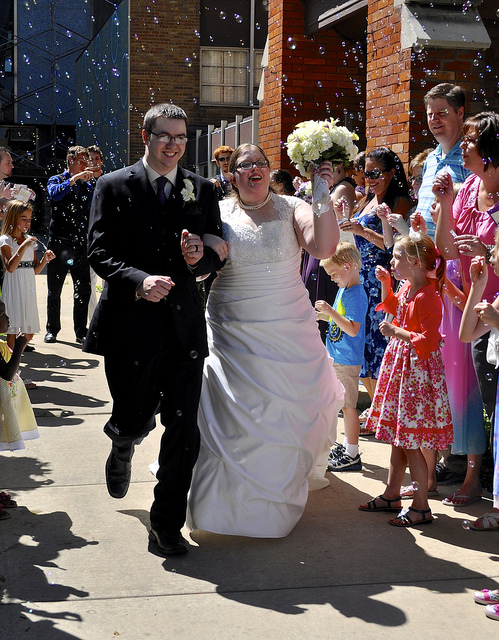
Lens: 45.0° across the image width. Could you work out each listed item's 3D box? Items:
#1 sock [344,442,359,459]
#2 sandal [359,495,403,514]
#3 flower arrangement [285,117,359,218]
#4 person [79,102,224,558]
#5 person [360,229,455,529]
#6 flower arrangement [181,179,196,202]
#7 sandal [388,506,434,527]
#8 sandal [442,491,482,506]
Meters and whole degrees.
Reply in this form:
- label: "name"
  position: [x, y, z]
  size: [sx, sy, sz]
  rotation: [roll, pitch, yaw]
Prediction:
- label: "sock"
  position: [0.654, 0.833, 3.853]
  size: [0.101, 0.100, 0.063]
  rotation: [13, 12, 40]
- label: "sandal"
  position: [0.684, 0.968, 3.186]
  size: [0.244, 0.092, 0.082]
  rotation: [3, -8, 5]
- label: "flower arrangement"
  position: [0.311, -0.727, 2.906]
  size: [0.297, 0.393, 0.355]
  rotation: [-3, 9, 8]
- label: "person"
  position: [-0.428, 0.040, 2.587]
  size: [0.598, 1.906, 0.561]
  rotation: [0, 5, -5]
- label: "person"
  position: [0.836, 0.278, 3.126]
  size: [0.447, 1.509, 0.669]
  rotation: [2, 5, 17]
- label: "flower arrangement"
  position: [-0.262, -0.548, 2.574]
  size: [0.031, 0.062, 0.084]
  rotation: [6, -36, 18]
- label: "sandal"
  position: [0.796, 0.964, 2.954]
  size: [0.198, 0.075, 0.088]
  rotation: [2, -6, -4]
- label: "sandal"
  position: [1.175, 0.980, 3.316]
  size: [0.212, 0.057, 0.078]
  rotation: [4, -11, -18]
